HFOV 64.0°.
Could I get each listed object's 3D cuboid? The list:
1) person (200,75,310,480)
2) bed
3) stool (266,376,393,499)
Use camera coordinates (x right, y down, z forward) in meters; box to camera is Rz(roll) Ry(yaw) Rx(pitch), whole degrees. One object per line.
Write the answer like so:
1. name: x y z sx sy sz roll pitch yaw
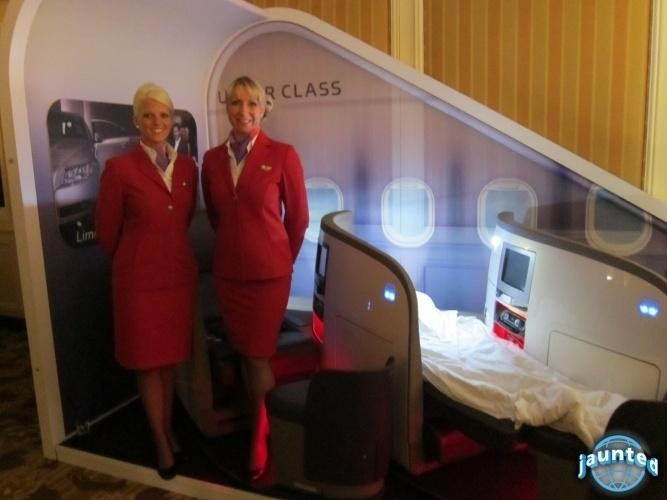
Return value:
1. person: -0.319 0.092 2.147 0.383 1.498 0.289 9 13 42
2. bed: 0.583 0.431 1.789 0.343 0.132 0.662 -10 37 -36
3. stool: 0.022 0.660 2.036 0.328 0.456 0.444 -1 4 -44
